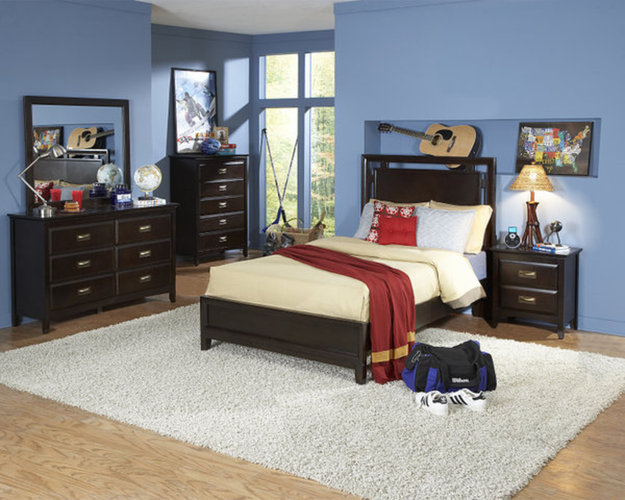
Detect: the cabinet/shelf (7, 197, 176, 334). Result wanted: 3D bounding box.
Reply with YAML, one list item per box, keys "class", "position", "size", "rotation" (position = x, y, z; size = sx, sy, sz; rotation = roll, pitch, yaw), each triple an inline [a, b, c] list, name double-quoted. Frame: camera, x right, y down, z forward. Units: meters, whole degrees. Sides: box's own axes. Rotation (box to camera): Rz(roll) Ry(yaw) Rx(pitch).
- class: "cabinet/shelf"
  position: [-2.158, 0.153, 4.940]
  size: [0.437, 0.842, 1.247]
  rotation: [6, 9, 33]

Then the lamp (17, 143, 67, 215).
- class: "lamp"
  position: [-2.533, -0.711, 4.977]
  size: [0.201, 0.568, 0.464]
  rotation: [5, 10, 32]

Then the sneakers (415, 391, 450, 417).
- class: "sneakers"
  position: [0.710, 0.910, 3.138]
  size: [0.213, 0.106, 0.179]
  rotation: [3, 9, 18]

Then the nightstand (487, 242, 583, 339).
- class: "nightstand"
  position: [2.108, 0.380, 4.843]
  size: [0.477, 0.726, 0.780]
  rotation: [-2, 4, -38]

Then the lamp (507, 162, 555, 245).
- class: "lamp"
  position: [2.052, -0.419, 4.878]
  size: [0.367, 0.783, 0.424]
  rotation: [4, 10, 23]

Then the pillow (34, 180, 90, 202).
- class: "pillow"
  position: [-2.492, -0.580, 5.126]
  size: [0.248, 0.226, 0.072]
  rotation: [9, 3, -44]

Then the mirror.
- class: "mirror"
  position: [-2.391, -0.933, 5.190]
  size: [0.055, 1.160, 1.294]
  rotation: [5, 8, 35]

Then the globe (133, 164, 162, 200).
- class: "globe"
  position: [-1.919, -0.787, 5.978]
  size: [0.274, 0.371, 1.048]
  rotation: [-3, 9, -19]

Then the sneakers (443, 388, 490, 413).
- class: "sneakers"
  position: [0.929, 0.893, 3.174]
  size: [0.278, 0.097, 0.102]
  rotation: [7, 10, 40]

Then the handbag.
- class: "handbag"
  position: [0.877, 0.743, 3.410]
  size: [0.592, 0.249, 0.427]
  rotation: [1, 8, -13]

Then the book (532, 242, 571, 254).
- class: "book"
  position: [2.116, -0.007, 4.646]
  size: [0.317, 0.068, 0.234]
  rotation: [6, 10, 34]

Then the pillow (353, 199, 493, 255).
- class: "pillow"
  position: [1.277, -0.231, 4.940]
  size: [1.437, 0.501, 0.256]
  rotation: [5, -16, 37]
